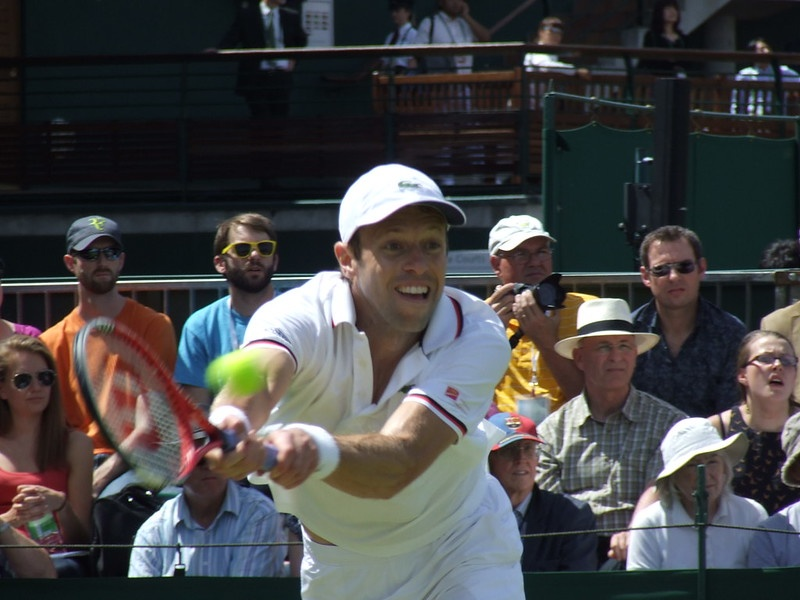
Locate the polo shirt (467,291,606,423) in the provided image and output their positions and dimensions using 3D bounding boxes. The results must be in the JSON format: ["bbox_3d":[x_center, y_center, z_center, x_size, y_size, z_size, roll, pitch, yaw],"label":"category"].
[{"bbox_3d":[1.379,0.562,25.991,0.361,1.147,1.214,12,9,41],"label":"polo shirt"}]

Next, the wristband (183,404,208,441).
[{"bbox_3d":[-1.874,1.126,23.004,0.178,0.277,0.071,-2,1,35],"label":"wristband"}]

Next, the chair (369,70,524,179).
[{"bbox_3d":[0.358,-2.196,32.357,2.324,1.495,1.369,-4,-1,-41],"label":"chair"}]

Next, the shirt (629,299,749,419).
[{"bbox_3d":[2.911,0.667,26.126,1.447,1.325,0.703,1,13,4],"label":"shirt"}]

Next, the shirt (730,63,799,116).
[{"bbox_3d":[4.645,-2.755,32.145,1.011,0.330,0.617,0,-1,-1],"label":"shirt"}]

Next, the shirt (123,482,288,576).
[{"bbox_3d":[-1.927,2.486,25.252,1.359,1.525,0.914,-1,-14,3],"label":"shirt"}]

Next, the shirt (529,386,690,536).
[{"bbox_3d":[2.082,1.587,25.436,1.505,1.404,0.627,10,-20,10],"label":"shirt"}]

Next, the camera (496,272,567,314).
[{"bbox_3d":[1.391,-0.077,25.829,0.336,0.312,0.526,-18,5,-36],"label":"camera"}]

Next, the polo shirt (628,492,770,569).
[{"bbox_3d":[2.962,2.384,24.782,1.637,1.182,0.693,0,-11,0],"label":"polo shirt"}]

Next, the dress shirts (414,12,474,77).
[{"bbox_3d":[0.556,-3.309,32.194,0.996,0.967,0.534,-1,-3,-22],"label":"dress shirts"}]

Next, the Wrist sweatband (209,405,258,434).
[{"bbox_3d":[-1.579,1.084,23.019,0.338,0.242,0.120,16,-37,-3],"label":"Wrist sweatband"}]

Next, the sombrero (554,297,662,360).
[{"bbox_3d":[2.143,0.250,25.750,0.720,0.315,0.790,-7,-8,42],"label":"sombrero"}]
